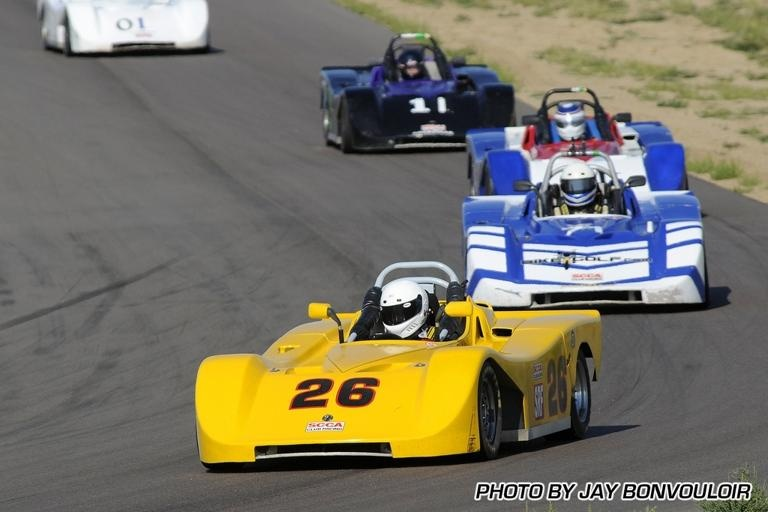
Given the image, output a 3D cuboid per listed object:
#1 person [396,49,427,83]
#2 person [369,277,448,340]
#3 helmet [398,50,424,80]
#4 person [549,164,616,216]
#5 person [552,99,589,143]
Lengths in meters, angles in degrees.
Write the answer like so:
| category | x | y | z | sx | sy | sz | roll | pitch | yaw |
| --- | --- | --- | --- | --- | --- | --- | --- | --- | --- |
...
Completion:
| category | x | y | z | sx | sy | sz | roll | pitch | yaw |
| --- | --- | --- | --- | --- | --- | --- | --- | --- | --- |
| person | 0.573 | -3.765 | 23.263 | 0.486 | 0.385 | 0.785 | 0 | 45 | 5 |
| person | 0.216 | 0.571 | 12.784 | 0.579 | 0.562 | 0.708 | -9 | 8 | 19 |
| helmet | 0.545 | -3.801 | 23.121 | 0.534 | 0.663 | 0.312 | 0 | 16 | 2 |
| person | 2.859 | -1.084 | 16.966 | 0.628 | 0.599 | 0.751 | -3 | 9 | 8 |
| person | 3.187 | -2.333 | 19.737 | 0.548 | 0.616 | 0.707 | -2 | 21 | 23 |
